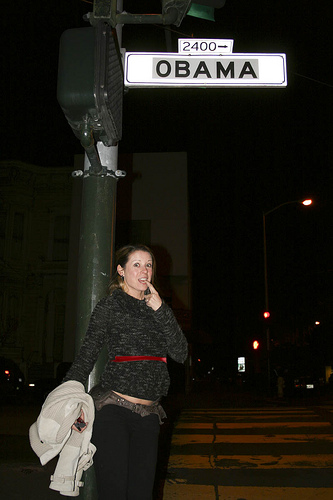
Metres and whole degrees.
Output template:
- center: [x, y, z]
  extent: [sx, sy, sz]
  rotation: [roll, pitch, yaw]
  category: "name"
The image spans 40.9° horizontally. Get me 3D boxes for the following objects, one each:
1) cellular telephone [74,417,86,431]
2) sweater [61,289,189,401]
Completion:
- center: [-0.434, 0.863, 2.222]
  extent: [0.051, 0.051, 0.016]
  rotation: [46, -16, 3]
  category: "cellular telephone"
- center: [-0.231, 0.553, 2.629]
  extent: [0.762, 0.680, 0.333]
  rotation: [12, -28, -27]
  category: "sweater"
